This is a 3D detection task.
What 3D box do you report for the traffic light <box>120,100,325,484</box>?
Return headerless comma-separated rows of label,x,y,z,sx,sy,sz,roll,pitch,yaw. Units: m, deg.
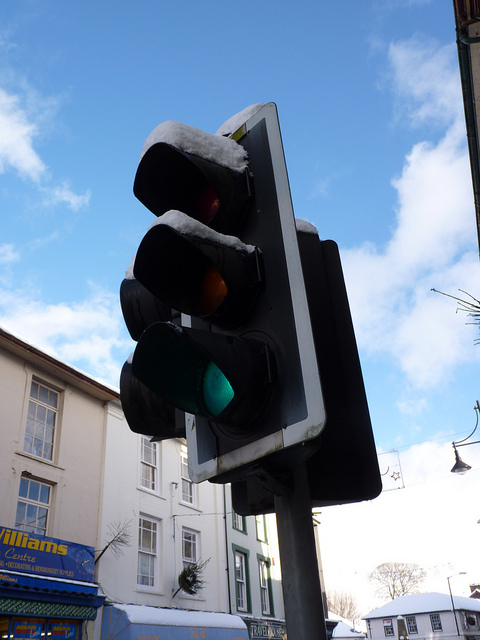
traffic light,-0.086,-0.081,1.733,0.434,1.088,0.587,6,-24,-40
